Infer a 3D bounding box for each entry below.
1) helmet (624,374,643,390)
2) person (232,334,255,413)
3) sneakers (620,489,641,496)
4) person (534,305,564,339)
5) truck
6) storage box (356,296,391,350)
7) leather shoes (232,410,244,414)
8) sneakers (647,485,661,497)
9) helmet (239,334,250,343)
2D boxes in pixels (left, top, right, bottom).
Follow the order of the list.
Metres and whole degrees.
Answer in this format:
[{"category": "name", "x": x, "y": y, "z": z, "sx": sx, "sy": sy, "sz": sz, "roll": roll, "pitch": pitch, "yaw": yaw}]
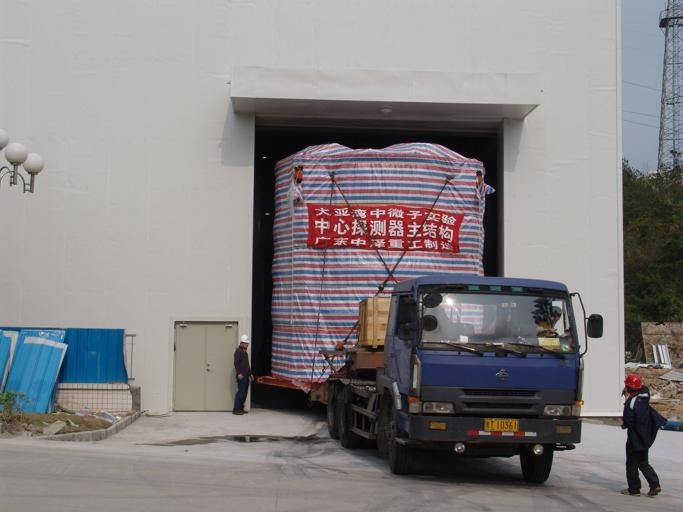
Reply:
[{"category": "helmet", "x": 6.246, "y": 2.699, "z": 23.131, "sx": 0.292, "sy": 0.366, "sz": 0.365, "roll": -1, "pitch": 6, "yaw": -26}, {"category": "person", "x": -3.000, "y": 3.506, "z": 31.854, "sx": 0.528, "sy": 2.279, "sz": 0.638, "roll": 2, "pitch": 3, "yaw": 12}, {"category": "sneakers", "x": 6.174, "y": 5.033, "z": 22.868, "sx": 0.339, "sy": 0.161, "sz": 0.152, "roll": 4, "pitch": -2, "yaw": 28}, {"category": "person", "x": 4.437, "y": 1.388, "z": 23.165, "sx": 0.529, "sy": 0.768, "sz": 0.529, "roll": 7, "pitch": 3, "yaw": 38}, {"category": "truck", "x": 2.291, "y": 2.978, "z": 26.248, "sx": 3.012, "sy": 3.225, "sz": 7.923, "roll": 3, "pitch": -10, "yaw": -11}, {"category": "storage box", "x": 0.815, "y": 1.696, "z": 27.011, "sx": 0.929, "sy": 1.440, "sz": 1.736, "roll": 2, "pitch": -7, "yaw": -4}, {"category": "leather shoes", "x": -3.084, "y": 4.610, "z": 31.791, "sx": 0.322, "sy": 0.149, "sz": 0.123, "roll": -2, "pitch": -5, "yaw": 12}, {"category": "sneakers", "x": 6.639, "y": 4.968, "z": 22.770, "sx": 0.146, "sy": 0.144, "sz": 0.327, "roll": 1, "pitch": -25, "yaw": -19}, {"category": "helmet", "x": -2.920, "y": 2.473, "z": 31.907, "sx": 0.181, "sy": 0.159, "sz": 0.230, "roll": 1, "pitch": -12, "yaw": -33}]
